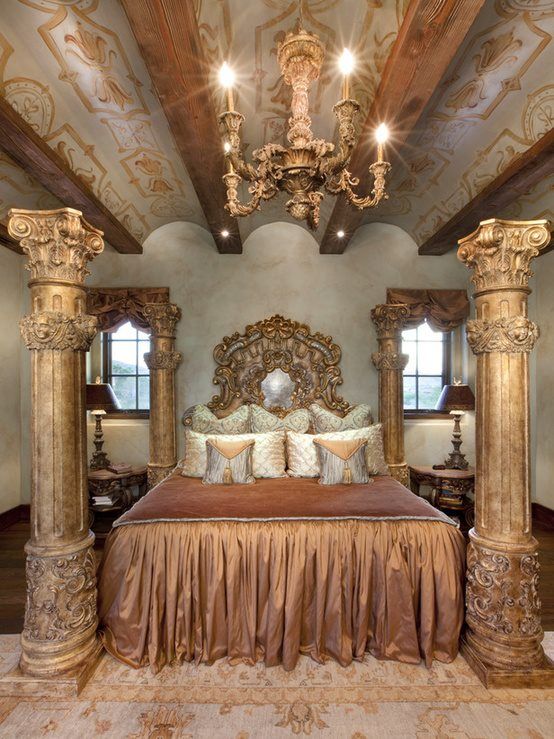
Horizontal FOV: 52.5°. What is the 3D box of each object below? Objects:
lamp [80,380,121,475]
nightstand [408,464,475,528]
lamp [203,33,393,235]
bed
[{"bbox_3d":[-1.544,0.444,4.883,0.353,0.690,0.336,-1,-6,-10],"label":"lamp"},{"bbox_3d":[1.509,1.119,4.897,0.518,0.507,0.550,-11,5,-1],"label":"nightstand"},{"bbox_3d":[0.113,-1.156,2.637,0.780,0.928,0.688,-1,0,30],"label":"lamp"},{"bbox_3d":[0.008,0.551,4.113,2.061,2.201,2.251,-1,-3,-2],"label":"bed"}]
